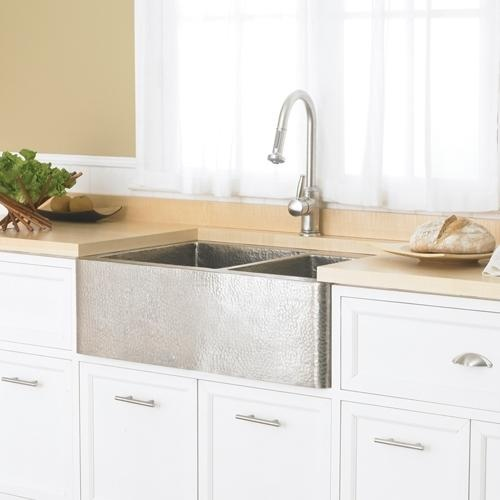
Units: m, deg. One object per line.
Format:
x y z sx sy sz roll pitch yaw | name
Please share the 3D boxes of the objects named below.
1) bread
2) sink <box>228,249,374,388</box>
0.436 -0.046 1.174 0.126 0.039 0.105 -4 7 -8 | bread
0.119 0.140 1.333 0.300 0.200 0.300 5 9 32 | sink
